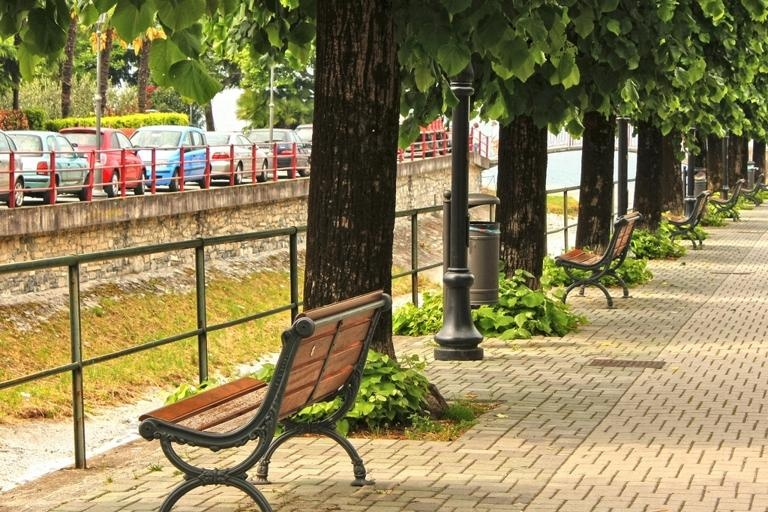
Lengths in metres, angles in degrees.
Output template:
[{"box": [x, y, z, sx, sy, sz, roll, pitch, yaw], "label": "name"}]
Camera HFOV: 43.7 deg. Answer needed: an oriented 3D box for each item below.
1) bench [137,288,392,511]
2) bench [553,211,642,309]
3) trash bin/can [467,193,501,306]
[{"box": [-0.785, 1.052, 6.853, 1.474, 1.536, 1.407, 1, 9, 6], "label": "bench"}, {"box": [3.604, 0.023, 15.770, 1.571, 1.895, 1.401, 3, 3, 20], "label": "bench"}, {"box": [1.285, 0.092, 12.655, 0.542, 1.176, 0.251, -7, 11, -37], "label": "trash bin/can"}]
